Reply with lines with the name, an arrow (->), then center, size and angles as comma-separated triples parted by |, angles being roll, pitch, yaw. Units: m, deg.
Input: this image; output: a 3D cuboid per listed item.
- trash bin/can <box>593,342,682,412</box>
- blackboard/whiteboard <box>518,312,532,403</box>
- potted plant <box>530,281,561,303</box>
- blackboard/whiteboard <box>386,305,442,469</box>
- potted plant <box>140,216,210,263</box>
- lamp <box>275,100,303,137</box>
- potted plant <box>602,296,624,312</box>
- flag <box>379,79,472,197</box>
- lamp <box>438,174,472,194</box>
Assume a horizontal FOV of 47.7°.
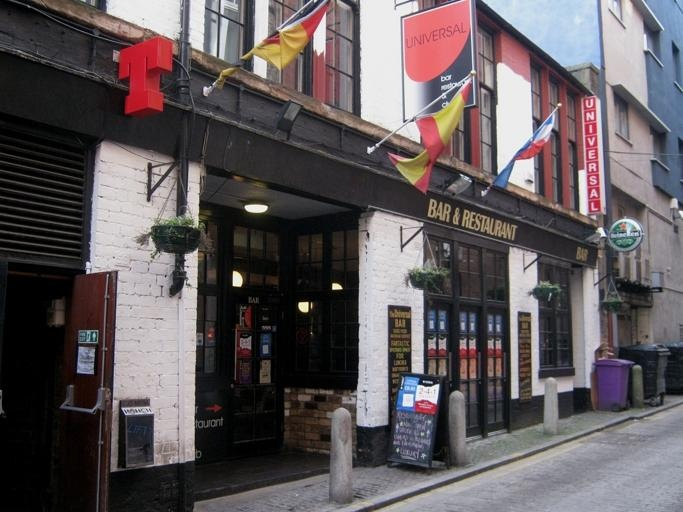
trash bin/can -> 7.818, 3.208, 20.649 | 1.989, 2.010, 1.474 | -2, -10, 27
blackboard/whiteboard -> 4.111, 2.237, 17.367 | 0.187, 1.965, 0.654 | -6, -11, 29
potted plant -> 4.624, 0.807, 17.615 | 0.580, 0.447, 0.568 | 7, -7, -44
blackboard/whiteboard -> 1.161, 2.177, 13.260 | 0.802, 2.773, 1.167 | 2, -10, -16
potted plant -> -2.309, -0.260, 10.433 | 0.876, 0.467, 0.775 | 5, -9, -15
lamp -> -0.836, -2.137, 12.018 | 0.327, 0.478, 0.294 | 9, -14, -42
potted plant -> 7.425, 1.322, 21.180 | 0.369, 0.280, 0.402 | -1, -9, 6
flag -> 1.433, -2.163, 13.984 | 0.892, 2.548, 0.284 | 32, 27, 20
lamp -> 2.236, -1.392, 15.070 | 0.420, 0.221, 0.471 | 19, -29, -32
